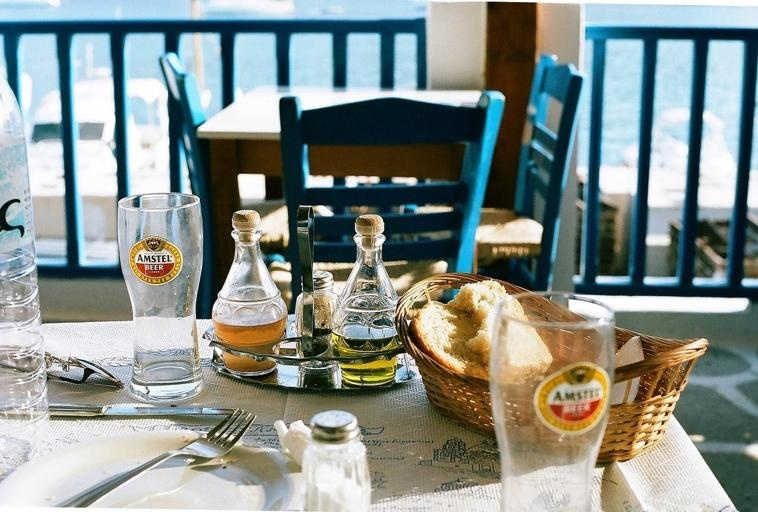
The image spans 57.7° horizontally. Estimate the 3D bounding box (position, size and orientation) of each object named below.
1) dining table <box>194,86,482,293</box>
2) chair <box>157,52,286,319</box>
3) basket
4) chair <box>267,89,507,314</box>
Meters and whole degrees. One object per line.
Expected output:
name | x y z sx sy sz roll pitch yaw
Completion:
dining table | -0.131 -0.288 2.539 0.834 0.724 0.792 0 16 2
chair | -0.513 -0.450 2.298 0.284 0.518 0.282 -10 17 -9
basket | 0.252 0.096 1.032 0.329 0.111 0.314 1 12 -23
chair | 0.047 -0.208 1.967 0.584 0.893 0.609 0 23 -3
